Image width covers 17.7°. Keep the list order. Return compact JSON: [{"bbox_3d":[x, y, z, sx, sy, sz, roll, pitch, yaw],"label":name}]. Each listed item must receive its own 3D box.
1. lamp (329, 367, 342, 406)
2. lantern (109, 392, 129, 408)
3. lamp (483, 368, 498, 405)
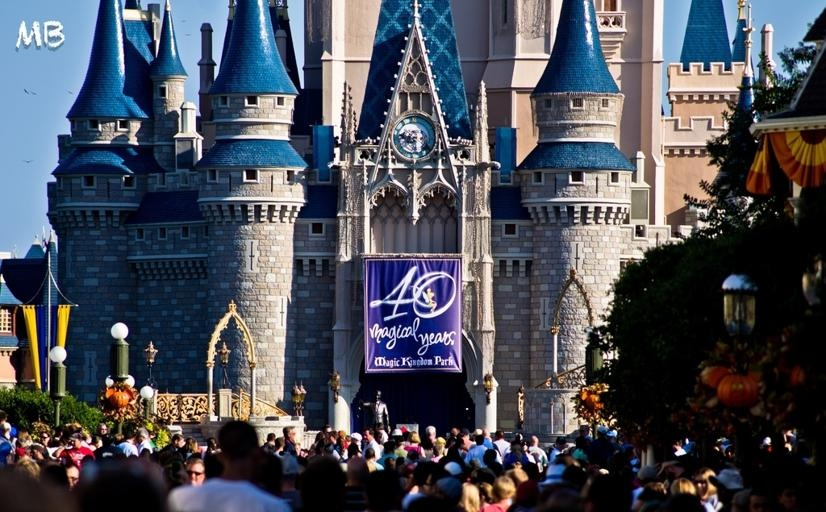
[{"bbox_3d":[-2.428,4.011,79.876,0.333,0.984,0.316,-2,-6,6],"label":"lamp"},{"bbox_3d":[-7.345,3.567,64.760,0.438,0.351,0.405,-5,9,-3],"label":"lantern"},{"bbox_3d":[2.340,4.031,79.788,0.432,0.982,0.361,1,-6,-15],"label":"lamp"}]
